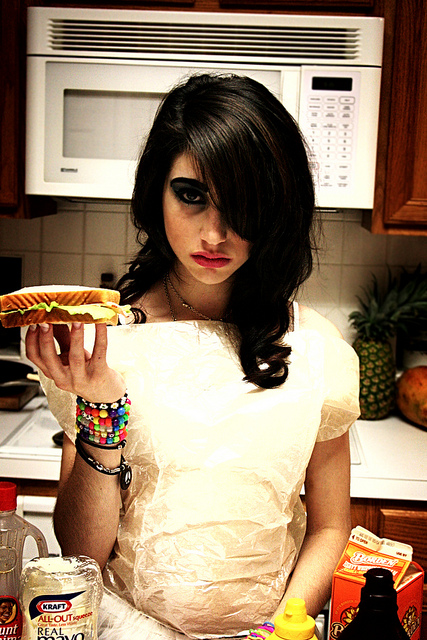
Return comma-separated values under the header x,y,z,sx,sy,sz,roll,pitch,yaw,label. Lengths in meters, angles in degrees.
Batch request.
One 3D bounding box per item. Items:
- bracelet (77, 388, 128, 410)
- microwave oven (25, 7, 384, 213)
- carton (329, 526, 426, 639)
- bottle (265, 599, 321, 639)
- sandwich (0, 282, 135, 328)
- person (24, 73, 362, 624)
x,y,z,sx,sy,sz,roll,pitch,yaw,label
-0.113,0.082,0.586,0.049,0.013,0.032,1,8,-10,bracelet
-0.033,-0.451,1.152,0.615,0.296,0.302,0,-5,1,microwave oven
0.160,0.255,0.560,0.080,0.077,0.129,5,8,21,carton
0.056,0.218,0.415,0.032,0.032,0.023,3,8,6,bottle
-0.149,-0.012,0.548,0.092,0.032,0.092,-1,2,0,sandwich
0.033,0.022,0.782,0.355,0.690,0.342,3,8,2,person
